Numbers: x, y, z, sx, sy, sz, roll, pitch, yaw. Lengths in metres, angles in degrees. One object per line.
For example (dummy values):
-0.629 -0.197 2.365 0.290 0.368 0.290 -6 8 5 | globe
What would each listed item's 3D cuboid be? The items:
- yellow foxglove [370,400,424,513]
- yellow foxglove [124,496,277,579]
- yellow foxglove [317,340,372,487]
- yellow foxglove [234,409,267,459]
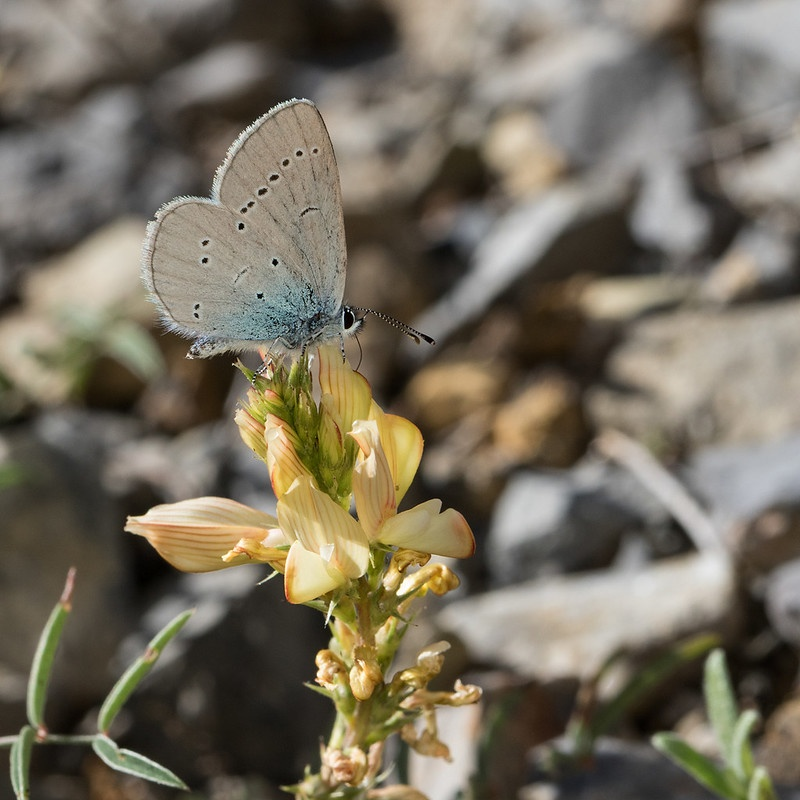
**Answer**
-0.002 0.182 3.558 0.163 0.271 0.369 -20 -13 7 | yellow foxglove
-0.621 0.433 3.508 0.456 0.213 0.129 -7 22 -7 | yellow foxglove
-0.182 0.038 3.529 0.168 0.339 0.269 14 -15 -42 | yellow foxglove
-0.484 0.105 3.543 0.060 0.145 0.156 -37 19 -22 | yellow foxglove
